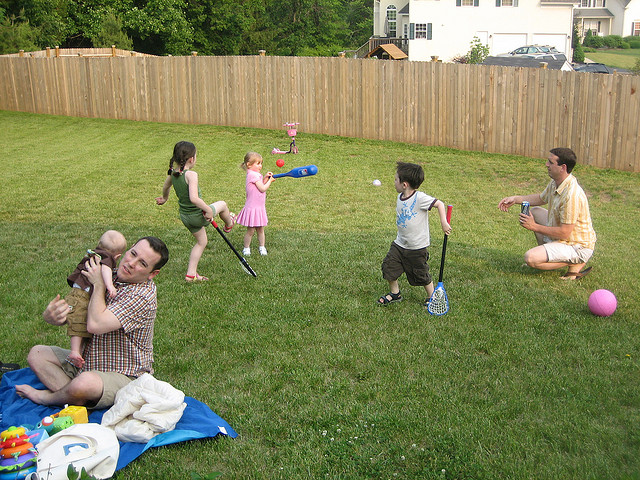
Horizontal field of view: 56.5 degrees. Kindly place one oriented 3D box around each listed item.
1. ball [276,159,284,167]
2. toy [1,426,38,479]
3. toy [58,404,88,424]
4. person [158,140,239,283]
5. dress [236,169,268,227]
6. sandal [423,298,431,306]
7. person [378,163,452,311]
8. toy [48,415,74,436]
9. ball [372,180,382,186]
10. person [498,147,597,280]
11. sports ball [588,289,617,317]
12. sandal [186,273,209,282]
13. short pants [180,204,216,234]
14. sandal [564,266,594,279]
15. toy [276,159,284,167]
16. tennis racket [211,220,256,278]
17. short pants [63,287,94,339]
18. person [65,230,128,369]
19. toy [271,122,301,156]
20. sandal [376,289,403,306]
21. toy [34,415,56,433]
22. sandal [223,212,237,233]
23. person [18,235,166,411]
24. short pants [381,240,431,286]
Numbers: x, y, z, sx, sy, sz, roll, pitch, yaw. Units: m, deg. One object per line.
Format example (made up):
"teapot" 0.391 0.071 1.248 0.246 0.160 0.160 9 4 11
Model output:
"ball" -0.941 -1.822 14.129 0.151 0.220 0.172 -5 12 3
"toy" -2.261 1.595 4.586 0.269 0.334 0.307 -2 5 4
"toy" -2.038 1.418 4.968 0.137 0.157 0.139 3 6 -33
"person" -1.657 -0.411 7.942 0.899 1.850 1.119 9 14 27
"dress" -1.005 -0.601 8.655 0.441 0.827 0.375 0 17 -2
"sandal" 1.292 0.751 7.210 0.032 0.123 0.072 0 -15 26
"person" 1.149 -0.065 7.193 0.807 1.874 0.536 7 22 21
"toy" -2.087 1.489 4.817 0.130 0.122 0.145 5 -4 -7
"ball" 1.230 -1.230 12.912 0.148 0.103 0.168 3 10 11
"person" 3.246 -0.366 8.393 1.060 1.919 1.202 0 17 6
"sports ball" 3.298 0.710 7.041 0.253 0.309 0.283 -15 27 -10
"sandal" -1.560 0.484 7.642 0.268 0.138 0.101 -7 11 -28
"short pants" -1.569 -0.269 7.603 0.242 0.198 0.472 7 16 25
"sandal" 3.581 0.404 8.232 0.387 0.106 0.158 -28 -2 -11
"toy" -0.940 -1.831 14.122 0.153 0.222 0.179 -7 31 9
"tennis racket" -1.234 0.151 8.506 0.121 1.010 0.072 -3 44 46
"short pants" -2.119 0.619 5.208 0.201 0.423 0.295 -1 2 -6
"person" -1.960 0.537 5.240 0.546 1.099 0.448 -7 19 -22
"toy" -0.844 -2.620 15.519 0.690 0.857 0.545 -8 15 -39
"sandal" 0.844 0.694 7.278 0.289 0.151 0.139 -6 10 -17
"toy" -2.205 1.482 4.821 0.162 0.097 0.125 -28 30 -25
"sandal" -1.306 -0.246 8.609 0.091 0.131 0.317 17 52 2
"person" -1.987 0.759 5.337 0.924 1.753 0.873 14 -6 25
"short pants" 1.048 0.301 7.205 0.453 0.549 0.203 2 0 12
